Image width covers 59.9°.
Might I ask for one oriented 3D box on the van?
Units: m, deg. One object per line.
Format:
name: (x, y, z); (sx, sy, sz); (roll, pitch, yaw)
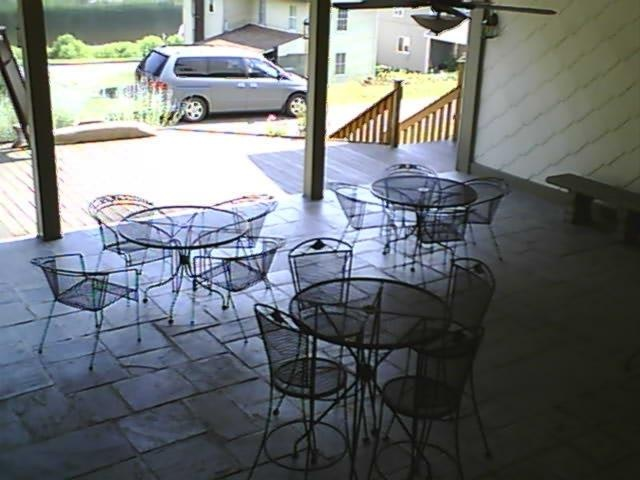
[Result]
van: (-1.962, -3.358, 11.581); (3.314, 0.966, 1.335); (-5, 29, -19)

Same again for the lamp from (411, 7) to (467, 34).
lamp: (0.881, -1.605, 4.107); (0.279, 0.121, 0.228); (5, 23, 10)
